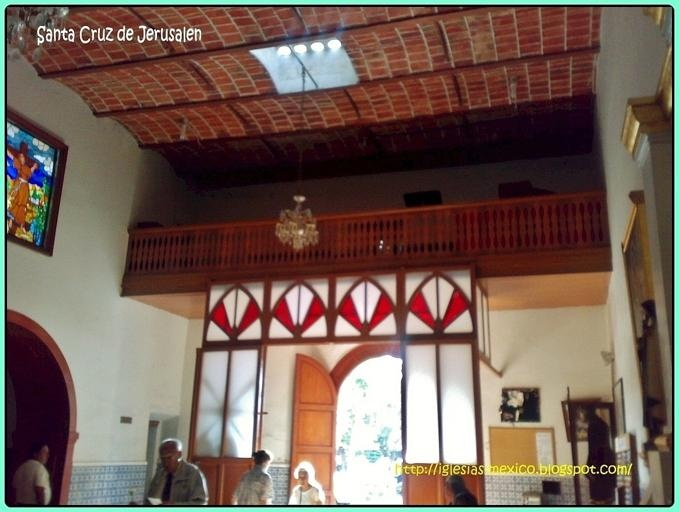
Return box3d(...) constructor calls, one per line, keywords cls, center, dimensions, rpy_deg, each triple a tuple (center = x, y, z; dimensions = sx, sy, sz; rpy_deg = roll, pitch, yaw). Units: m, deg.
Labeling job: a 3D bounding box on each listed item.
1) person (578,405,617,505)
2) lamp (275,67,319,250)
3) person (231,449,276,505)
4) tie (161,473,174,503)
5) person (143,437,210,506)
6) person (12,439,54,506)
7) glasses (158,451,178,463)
box3d(cls="person", center=(4.836, 3.666, 10.323), dimensions=(0.432, 1.696, 0.789), rpy_deg=(3, -20, -7))
box3d(cls="lamp", center=(-0.753, -1.909, 10.555), dimensions=(0.879, 3.613, 0.848), rpy_deg=(1, 10, -13))
box3d(cls="person", center=(-1.223, 3.170, 7.963), dimensions=(0.494, 0.721, 0.480), rpy_deg=(4, -20, -10))
box3d(cls="tie", center=(-1.917, 2.567, 6.181), dimensions=(0.120, 0.278, 0.056), rpy_deg=(-12, -24, 32))
box3d(cls="person", center=(-1.803, 2.417, 6.236), dimensions=(0.511, 0.690, 0.711), rpy_deg=(12, -23, -28))
box3d(cls="person", center=(-4.822, 3.393, 8.694), dimensions=(0.591, 0.900, 0.531), rpy_deg=(4, -20, -9))
box3d(cls="glasses", center=(-1.908, 2.232, 6.207), dimensions=(0.142, 0.160, 0.163), rpy_deg=(-3, -27, 1))
